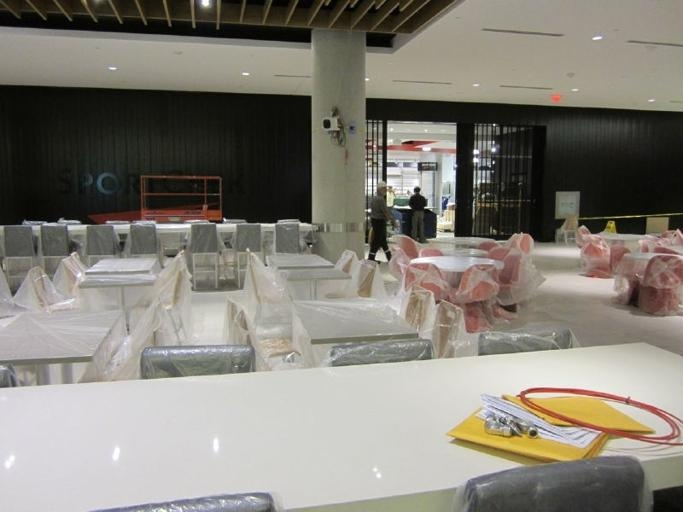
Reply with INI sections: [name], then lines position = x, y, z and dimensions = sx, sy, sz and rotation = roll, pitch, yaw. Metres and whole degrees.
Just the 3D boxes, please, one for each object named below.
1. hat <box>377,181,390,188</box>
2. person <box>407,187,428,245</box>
[hat]
position = 0.798, -1.399, 10.071
dimensions = 0.190, 0.201, 0.156
rotation = -12, 12, -2
[person]
position = 2.135, -1.196, 14.656
dimensions = 0.634, 1.556, 0.667
rotation = 3, 5, 27
